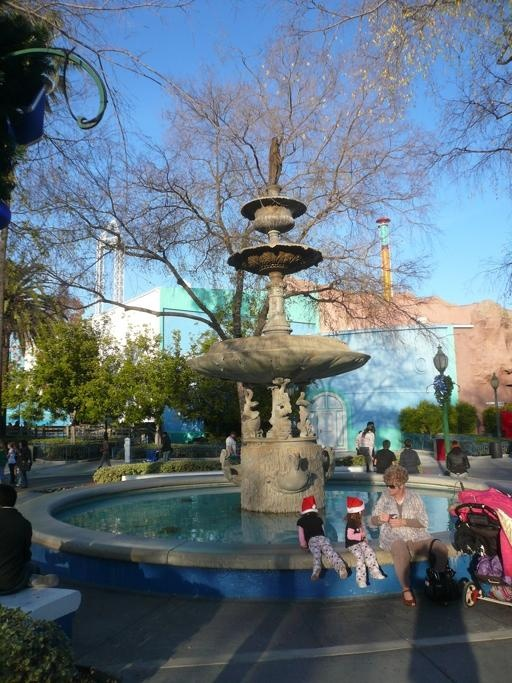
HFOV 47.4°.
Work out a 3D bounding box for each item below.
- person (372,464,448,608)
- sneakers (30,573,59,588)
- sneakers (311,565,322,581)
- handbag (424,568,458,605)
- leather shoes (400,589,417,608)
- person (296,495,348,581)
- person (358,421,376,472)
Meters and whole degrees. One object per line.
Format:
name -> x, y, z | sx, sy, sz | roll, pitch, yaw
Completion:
person -> 1.369, 1.670, 5.209 | 0.531, 1.004, 0.740 | -7, 10, -26
sneakers -> -1.387, 1.569, 3.815 | 0.179, 0.062, 0.151 | 4, -15, -15
sneakers -> 0.535, 2.044, 5.104 | 0.099, 0.137, 0.089 | -3, -6, 2
handbag -> 1.579, 2.087, 4.982 | 0.214, 0.285, 0.287 | 3, -32, -2
leather shoes -> 1.300, 2.190, 4.947 | 0.092, 0.097, 0.264 | -2, -17, 5
person -> 0.607, 1.833, 5.455 | 0.248, 0.286, 0.805 | 1, 15, -7
person -> 3.497, 3.255, 18.324 | 0.539, 1.424, 2.600 | -4, -6, 9
